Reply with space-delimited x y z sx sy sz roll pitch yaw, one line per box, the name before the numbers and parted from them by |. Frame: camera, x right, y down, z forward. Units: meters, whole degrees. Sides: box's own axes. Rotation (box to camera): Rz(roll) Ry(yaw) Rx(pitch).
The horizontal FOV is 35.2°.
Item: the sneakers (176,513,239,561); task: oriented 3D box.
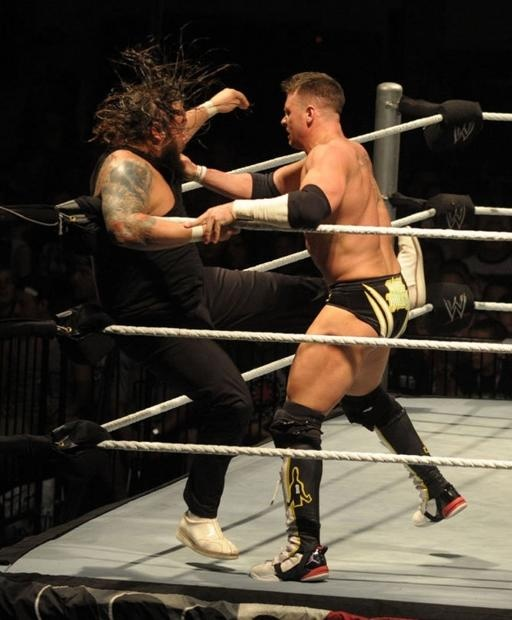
sneakers | -0.145 0.689 2.498 0.114 0.105 0.241 -5 15 -45
